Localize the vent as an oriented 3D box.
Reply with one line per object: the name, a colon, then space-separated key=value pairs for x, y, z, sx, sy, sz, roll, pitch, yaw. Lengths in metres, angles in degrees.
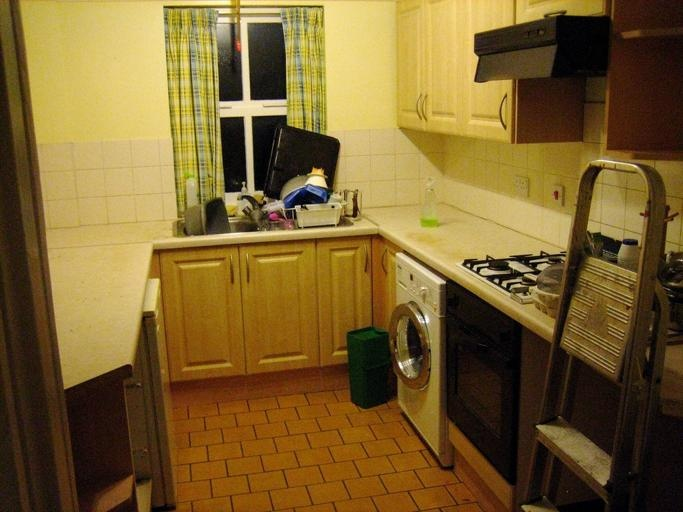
vent: x=0.822 y=-0.888 z=2.335 sx=0.225 sy=0.248 sz=0.637 roll=-7 pitch=18 yaw=-14

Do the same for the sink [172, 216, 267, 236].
sink: x=-0.852 y=-0.199 z=3.673 sx=0.375 sy=0.130 sz=0.250 roll=-4 pitch=10 yaw=-31

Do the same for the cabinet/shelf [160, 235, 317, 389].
cabinet/shelf: x=-0.717 y=0.334 z=3.572 sx=0.903 sy=0.836 sz=0.357 roll=-4 pitch=10 yaw=-15

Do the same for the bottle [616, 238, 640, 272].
bottle: x=0.980 y=-0.008 z=1.839 sx=0.058 sy=0.095 sz=0.137 roll=5 pitch=16 yaw=25

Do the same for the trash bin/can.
trash bin/can: x=0.203 y=0.726 z=3.604 sx=0.322 sy=0.510 sz=0.271 roll=-4 pitch=15 yaw=-10

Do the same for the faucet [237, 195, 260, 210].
faucet: x=-0.675 y=-0.393 z=3.874 sx=0.160 sy=0.111 sz=0.145 roll=-2 pitch=15 yaw=1
